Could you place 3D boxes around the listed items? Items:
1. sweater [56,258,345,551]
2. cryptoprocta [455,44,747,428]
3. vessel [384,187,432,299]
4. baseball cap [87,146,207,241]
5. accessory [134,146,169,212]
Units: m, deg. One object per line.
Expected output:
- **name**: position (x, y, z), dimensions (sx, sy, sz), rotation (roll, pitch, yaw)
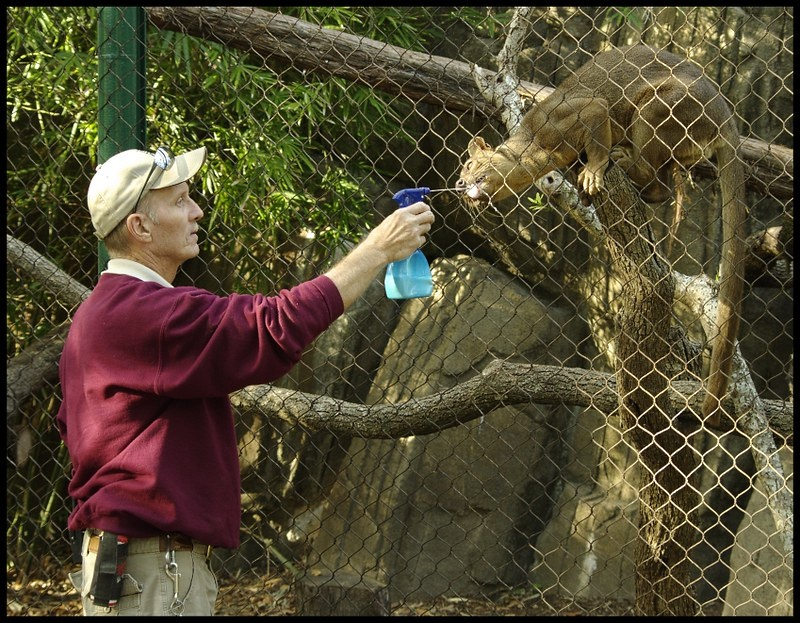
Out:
- **sweater**: position (-1.004, 0.396, 5.262), dimensions (1.063, 1.376, 1.888), rotation (-3, -3, -30)
- **cryptoprocta**: position (1.321, -0.588, 6.843), dimensions (1.740, 2.299, 0.929), rotation (4, 5, 33)
- **vessel**: position (0.043, -0.355, 5.495), dimensions (0.176, 0.544, 0.279), rotation (-1, 7, -16)
- **baseball cap**: position (-1.224, -0.641, 5.261), dimensions (0.544, 0.279, 0.368), rotation (-44, 16, 5)
- **accessory**: position (-1.196, -0.664, 5.180), dimensions (0.069, 0.279, 0.202), rotation (27, 0, 8)
